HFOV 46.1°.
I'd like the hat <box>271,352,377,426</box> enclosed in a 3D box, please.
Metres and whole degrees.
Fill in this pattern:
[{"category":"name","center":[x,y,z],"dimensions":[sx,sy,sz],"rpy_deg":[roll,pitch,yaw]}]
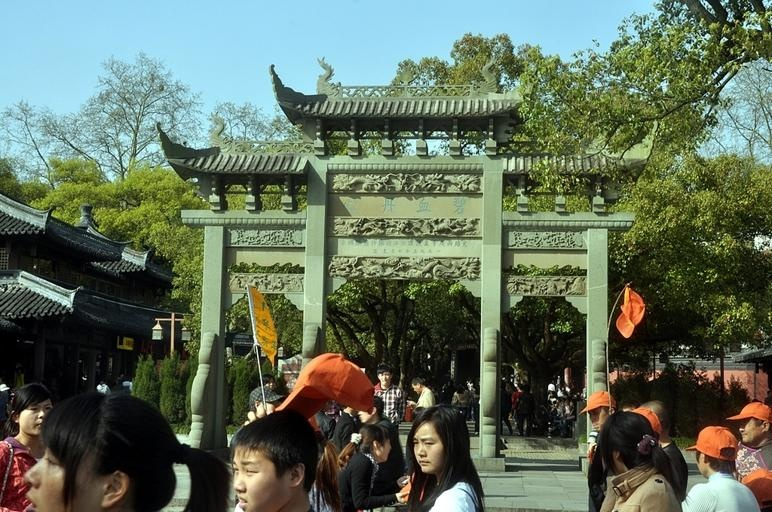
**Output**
[{"category":"hat","center":[-0.674,1.475,10.346],"dimensions":[1.036,0.549,0.658],"rpy_deg":[4,-12,-12]}]

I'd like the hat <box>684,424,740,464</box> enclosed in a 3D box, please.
[{"category":"hat","center":[4.289,2.438,11.799],"dimensions":[0.517,0.309,0.375],"rpy_deg":[4,-3,42]}]

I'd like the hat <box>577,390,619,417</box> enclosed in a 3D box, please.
[{"category":"hat","center":[3.336,2.262,14.126],"dimensions":[0.389,0.425,1.295],"rpy_deg":[-1,-14,12]}]

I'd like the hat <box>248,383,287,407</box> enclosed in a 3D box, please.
[{"category":"hat","center":[-1.947,2.231,14.334],"dimensions":[0.769,0.403,0.503],"rpy_deg":[-2,-4,27]}]

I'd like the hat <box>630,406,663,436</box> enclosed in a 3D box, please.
[{"category":"hat","center":[3.337,2.123,11.564],"dimensions":[0.404,0.312,0.409],"rpy_deg":[7,-44,7]}]
